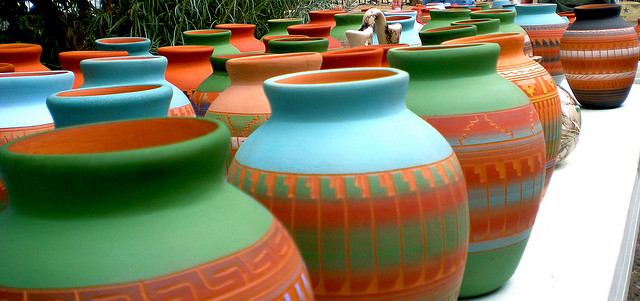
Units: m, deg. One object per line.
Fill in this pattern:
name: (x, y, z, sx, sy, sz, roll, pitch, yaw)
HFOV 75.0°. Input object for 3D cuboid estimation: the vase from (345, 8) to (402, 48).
vase: (0.441, -1.066, 3.600, 0.248, 0.313, 0.464, 9, 22, 44)

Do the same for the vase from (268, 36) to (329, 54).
vase: (-0.124, -0.716, 2.887, 0.349, 0.109, 0.304, -6, 11, -30)

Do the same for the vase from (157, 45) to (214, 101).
vase: (-0.993, -0.598, 3.374, 0.506, 0.420, 0.467, -4, 9, -33)

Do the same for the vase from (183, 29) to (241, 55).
vase: (-1.007, -0.971, 3.853, 0.397, 0.205, 0.348, 0, 4, -2)

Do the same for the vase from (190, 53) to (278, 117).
vase: (-0.612, -0.452, 3.177, 0.649, 0.481, 0.568, -1, 9, 0)

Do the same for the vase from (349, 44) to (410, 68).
vase: (0.468, -0.688, 2.959, 0.283, 0.131, 0.271, -1, 8, -2)

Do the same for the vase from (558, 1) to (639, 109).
vase: (3.712, -1.199, 5.571, 1.025, 1.398, 0.343, -7, 18, 3)

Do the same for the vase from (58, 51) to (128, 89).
vase: (-1.637, -0.534, 2.985, 0.417, 0.231, 0.366, -2, 7, 3)

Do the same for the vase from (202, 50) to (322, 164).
vase: (-0.415, -0.309, 2.724, 0.707, 0.534, 0.617, -10, 24, -16)

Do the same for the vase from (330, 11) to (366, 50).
vase: (0.349, -1.435, 4.861, 0.360, 0.298, 0.304, -10, 34, 2)

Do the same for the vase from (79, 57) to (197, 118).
vase: (-1.097, -0.445, 2.847, 0.765, 0.540, 0.668, 0, 6, -4)

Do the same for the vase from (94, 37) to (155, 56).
vase: (-1.655, -0.844, 3.483, 0.494, 0.149, 0.498, 11, 15, 40)
